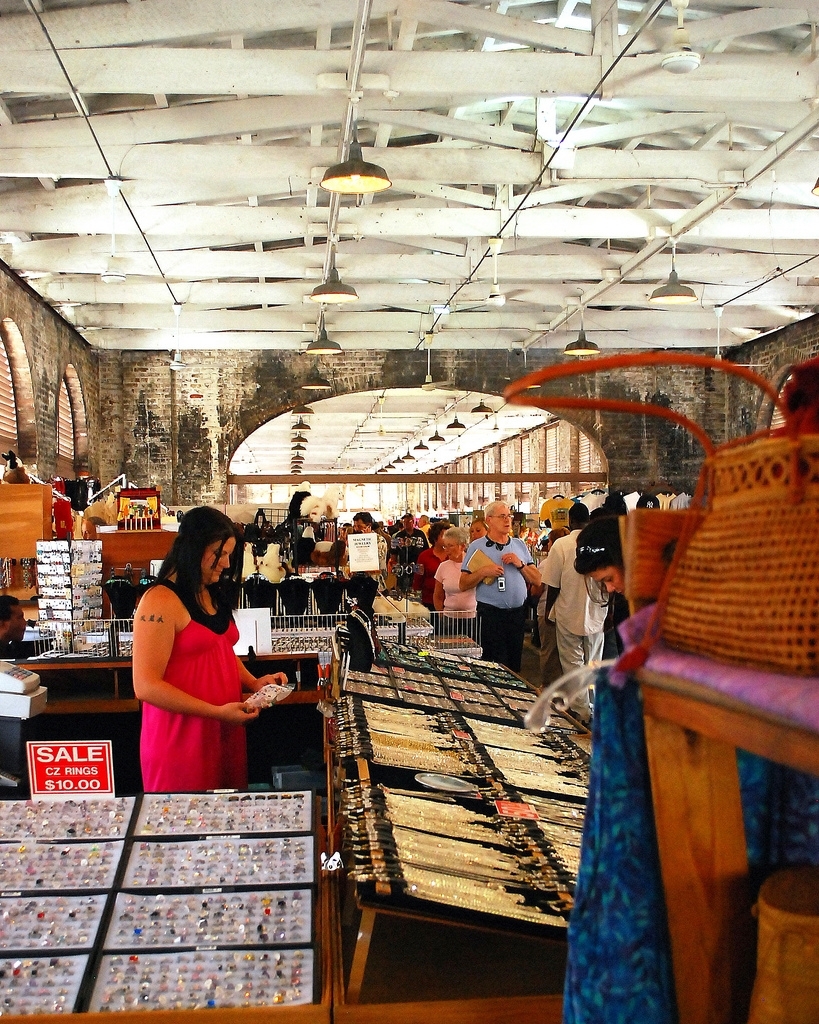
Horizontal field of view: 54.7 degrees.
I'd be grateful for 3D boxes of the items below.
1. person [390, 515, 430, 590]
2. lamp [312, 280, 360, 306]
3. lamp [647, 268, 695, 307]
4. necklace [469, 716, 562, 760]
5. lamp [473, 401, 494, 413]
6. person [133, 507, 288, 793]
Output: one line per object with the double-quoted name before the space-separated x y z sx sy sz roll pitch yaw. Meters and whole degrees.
"person" -0.021 0.650 10.846 0.616 1.326 0.342 -9 27 -13
"lamp" -0.677 -2.312 8.353 0.523 0.238 0.513 -4 8 -36
"lamp" 3.000 -2.591 8.949 0.424 0.419 0.872 9 6 15
"necklace" 0.340 0.762 2.654 0.385 0.002 0.329 9 1 -9
"lamp" 1.648 -2.406 17.605 0.472 0.272 0.457 0 -4 -5
"person" -0.680 0.483 2.634 0.480 0.972 0.586 7 6 -6
